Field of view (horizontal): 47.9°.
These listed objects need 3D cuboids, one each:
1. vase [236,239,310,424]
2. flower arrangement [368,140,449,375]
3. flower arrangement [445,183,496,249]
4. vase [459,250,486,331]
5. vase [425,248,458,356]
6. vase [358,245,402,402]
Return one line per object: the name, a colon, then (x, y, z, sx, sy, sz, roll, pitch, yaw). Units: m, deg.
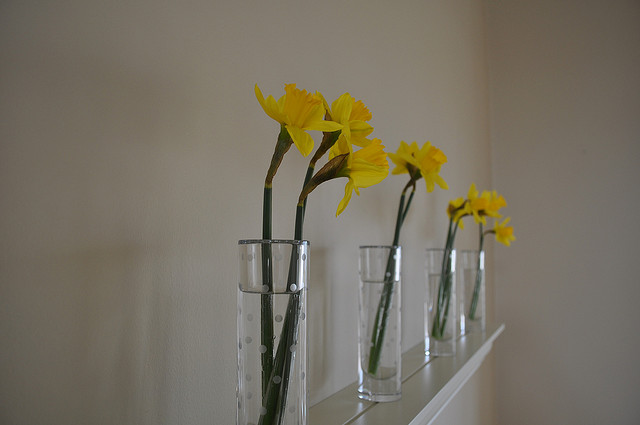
vase: (-0.101, 0.261, 1.565, 0.153, 0.380, 0.119, 1, -13, -4)
flower arrangement: (0.229, 0.126, 1.988, 0.186, 0.659, 0.176, 13, -7, -29)
flower arrangement: (0.481, 0.025, 2.439, 0.223, 0.143, 0.156, 18, -32, -26)
vase: (0.518, 0.245, 2.469, 0.087, 0.310, 0.347, -3, -15, 14)
vase: (0.367, 0.274, 2.184, 0.096, 0.310, 0.095, 0, -13, -2)
vase: (0.151, 0.282, 1.816, 0.107, 0.374, 0.120, 0, -13, 1)
